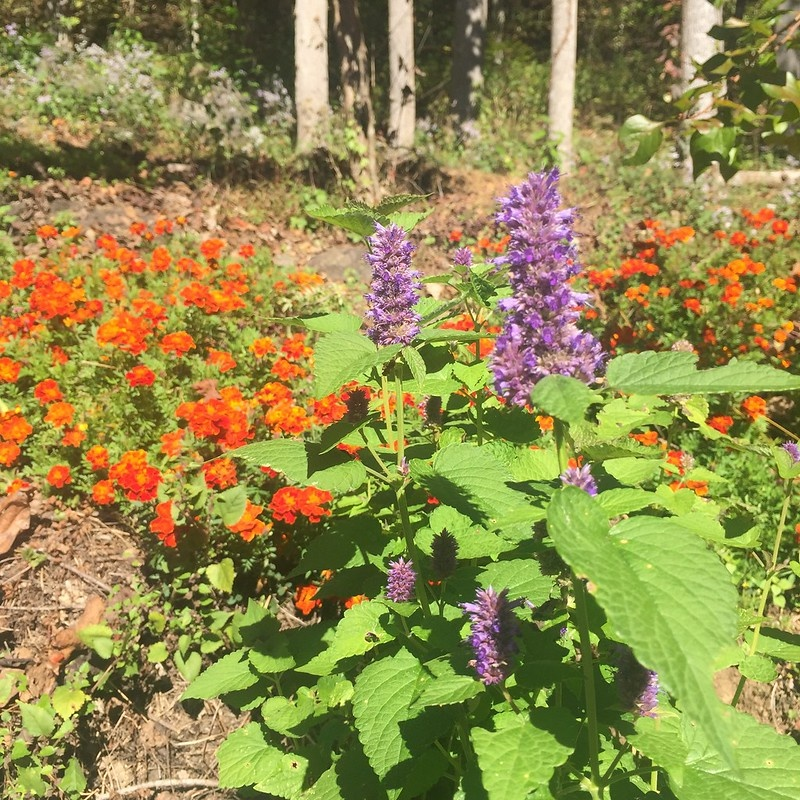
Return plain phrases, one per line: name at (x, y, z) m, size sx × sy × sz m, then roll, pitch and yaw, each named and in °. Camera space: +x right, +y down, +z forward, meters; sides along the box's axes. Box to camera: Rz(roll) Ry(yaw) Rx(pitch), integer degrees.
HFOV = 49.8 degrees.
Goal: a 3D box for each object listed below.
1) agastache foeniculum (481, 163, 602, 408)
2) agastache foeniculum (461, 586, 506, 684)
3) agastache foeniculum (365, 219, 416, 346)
agastache foeniculum at (0.526, -0.391, 3.011) m, size 0.394 × 0.809 × 0.238 m, roll 2°, pitch 15°, yaw 9°
agastache foeniculum at (0.298, 0.820, 3.014) m, size 0.147 × 0.303 × 0.196 m, roll -2°, pitch 14°, yaw -6°
agastache foeniculum at (-0.026, -0.448, 3.343) m, size 0.203 × 0.456 × 0.159 m, roll -1°, pitch 15°, yaw -2°
